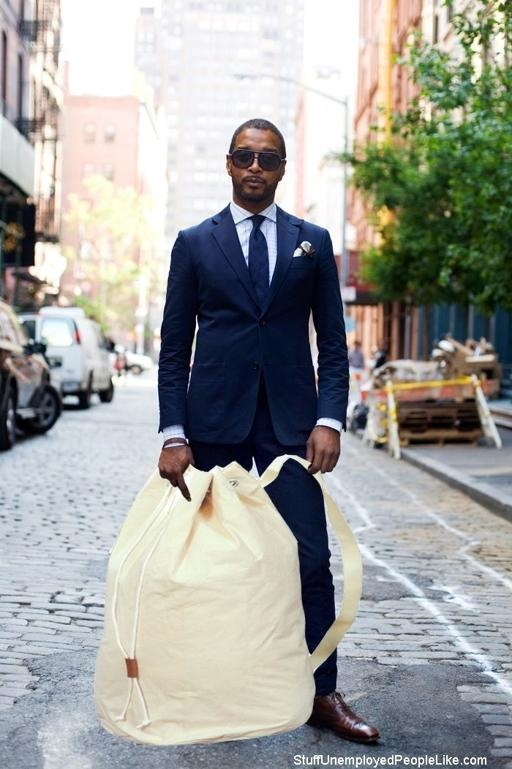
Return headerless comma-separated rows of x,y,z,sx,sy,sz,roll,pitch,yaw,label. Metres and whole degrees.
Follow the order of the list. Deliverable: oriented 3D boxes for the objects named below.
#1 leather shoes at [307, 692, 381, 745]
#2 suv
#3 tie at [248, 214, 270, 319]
0.230,1.009,3.064,0.096,0.118,0.291,-14,13,-41,leather shoes
-3.947,-0.632,20.687,1.535,1.379,2.992,0,7,0,suv
0.006,-0.371,3.019,0.069,0.307,0.134,2,2,-1,tie
